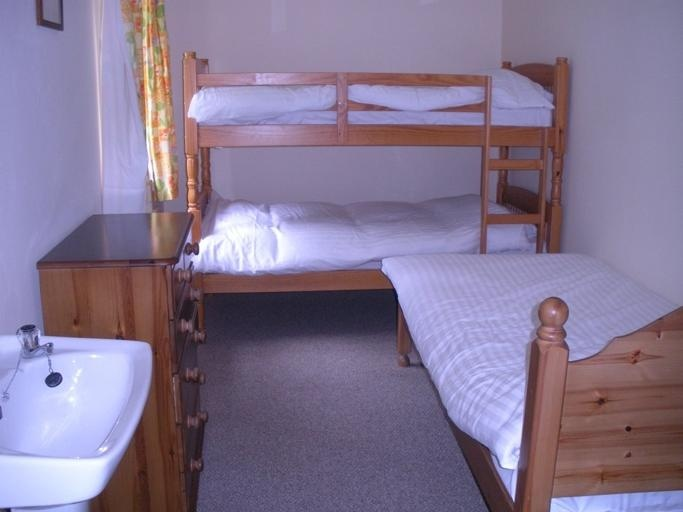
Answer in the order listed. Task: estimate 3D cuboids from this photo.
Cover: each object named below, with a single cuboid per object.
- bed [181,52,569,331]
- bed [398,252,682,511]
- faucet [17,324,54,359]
[{"bbox_3d":[0.195,-0.450,3.925,1.985,1.527,0.800,-3,24,-7],"label":"bed"},{"bbox_3d":[0.948,0.382,2.698,1.219,0.521,1.615,-1,11,-7],"label":"bed"},{"bbox_3d":[-0.923,0.257,1.828,0.118,0.093,0.069,5,7,-2],"label":"faucet"}]
